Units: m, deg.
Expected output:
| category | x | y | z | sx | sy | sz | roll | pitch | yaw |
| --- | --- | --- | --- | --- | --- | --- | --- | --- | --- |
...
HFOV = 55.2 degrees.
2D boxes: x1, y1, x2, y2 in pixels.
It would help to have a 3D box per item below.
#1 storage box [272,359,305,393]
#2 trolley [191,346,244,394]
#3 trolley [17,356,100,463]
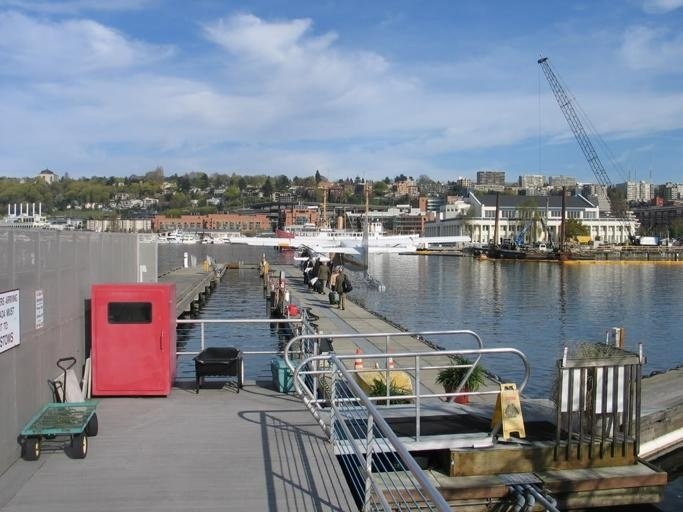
| category | x | y | z | sx | sy | sz | roll | pitch | yaw |
| --- | --- | --- | --- | --- | --- | --- | --- | --- | --- |
| storage box | -1.075 | 2.318 | 12.571 | 0.524 | 0.506 | 0.686 | 0 | 8 | -8 |
| trolley | -2.333 | 2.181 | 12.398 | 0.902 | 0.829 | 0.880 | -3 | 2 | -11 |
| trolley | -4.243 | 2.342 | 9.991 | 0.915 | 1.135 | 1.794 | -1 | 2 | -13 |
